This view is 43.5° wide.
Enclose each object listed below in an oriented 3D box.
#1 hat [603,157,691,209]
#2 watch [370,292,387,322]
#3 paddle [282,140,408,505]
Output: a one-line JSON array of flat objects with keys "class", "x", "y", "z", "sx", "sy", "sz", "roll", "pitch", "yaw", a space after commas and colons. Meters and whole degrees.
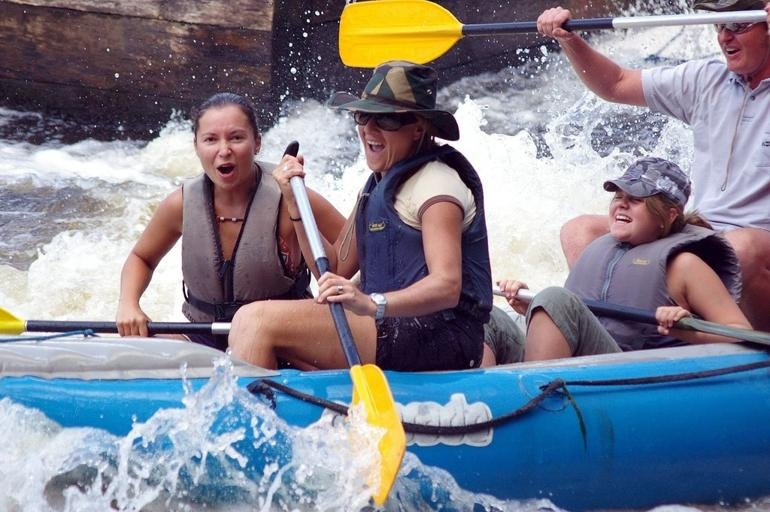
[{"class": "hat", "x": 1.389, "y": -0.416, "z": 5.049, "sx": 0.449, "sy": 0.245, "sz": 0.341, "roll": 9, "pitch": 4, "yaw": -17}, {"class": "watch", "x": -0.045, "y": 0.225, "z": 4.202, "sx": 0.065, "sy": 0.102, "sz": 0.095, "roll": -2, "pitch": -31, "yaw": -9}, {"class": "paddle", "x": -0.148, "y": 0.359, "z": 4.299, "sx": 0.273, "sy": 1.358, "sz": 0.859, "roll": -3, "pitch": 6, "yaw": -21}]
